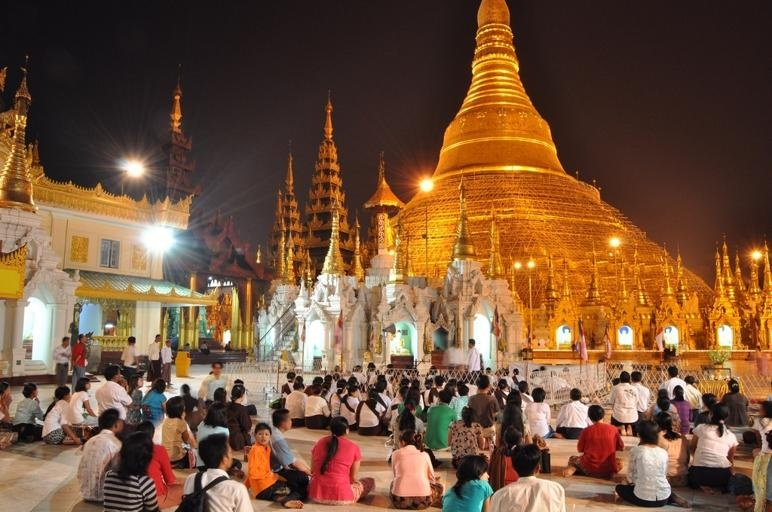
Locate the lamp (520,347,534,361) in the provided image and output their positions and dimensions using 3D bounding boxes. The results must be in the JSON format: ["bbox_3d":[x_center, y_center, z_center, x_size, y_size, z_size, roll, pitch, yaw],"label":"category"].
[{"bbox_3d":[5.569,3.824,26.074,0.479,0.614,0.662,-3,-5,22],"label":"lamp"}]

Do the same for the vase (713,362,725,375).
[{"bbox_3d":[10.755,3.598,21.218,0.399,0.422,0.388,-1,-2,-4],"label":"vase"}]
